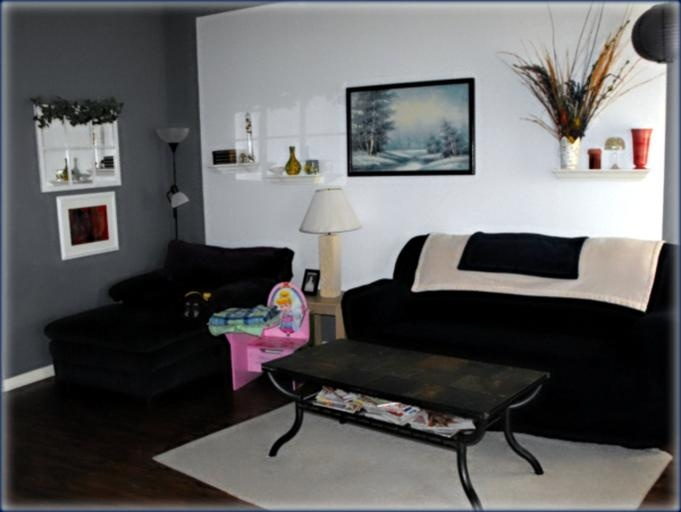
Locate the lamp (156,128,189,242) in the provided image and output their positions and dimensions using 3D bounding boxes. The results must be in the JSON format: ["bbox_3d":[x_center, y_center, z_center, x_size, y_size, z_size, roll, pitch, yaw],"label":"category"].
[{"bbox_3d":[-1.589,-0.705,5.275,0.315,1.104,0.553,-5,14,-14],"label":"lamp"}]

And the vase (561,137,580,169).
[{"bbox_3d":[1.698,-0.766,3.996,0.128,0.237,0.087,2,14,13],"label":"vase"}]

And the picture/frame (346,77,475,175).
[{"bbox_3d":[0.633,-1.109,4.522,0.902,0.614,0.037,3,9,27],"label":"picture/frame"}]

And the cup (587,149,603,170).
[{"bbox_3d":[1.880,-0.720,3.973,0.105,0.150,0.136,3,14,17],"label":"cup"}]

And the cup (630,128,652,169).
[{"bbox_3d":[2.152,-0.771,3.858,0.144,0.287,0.148,-1,13,0],"label":"cup"}]

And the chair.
[{"bbox_3d":[-1.352,0.487,4.460,1.311,0.931,1.463,6,15,30],"label":"chair"}]

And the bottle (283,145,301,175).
[{"bbox_3d":[-0.434,-0.889,4.999,0.153,0.263,0.248,-2,13,-1],"label":"bottle"}]

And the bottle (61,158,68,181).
[{"bbox_3d":[-2.295,-0.724,4.500,0.014,0.177,0.058,5,15,25],"label":"bottle"}]

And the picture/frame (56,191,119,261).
[{"bbox_3d":[-2.218,-0.272,4.682,0.042,0.502,0.586,2,8,30],"label":"picture/frame"}]
